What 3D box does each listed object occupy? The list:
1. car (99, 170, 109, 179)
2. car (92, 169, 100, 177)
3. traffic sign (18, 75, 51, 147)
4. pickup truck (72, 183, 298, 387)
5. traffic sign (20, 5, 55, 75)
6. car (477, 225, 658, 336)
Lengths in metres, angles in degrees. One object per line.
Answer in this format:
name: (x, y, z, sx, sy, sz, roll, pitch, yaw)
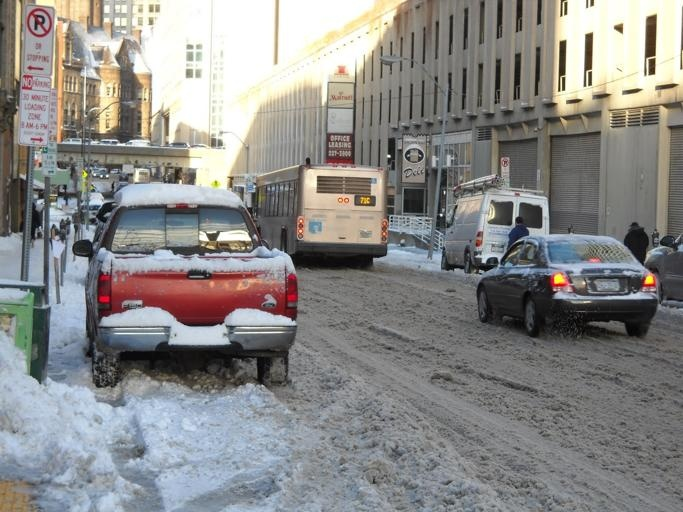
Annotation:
car: (-43.964, -15.071, 126.703, 1.014, 1.603, 4.212, 1, 6, -12)
car: (-44.892, -15.061, 124.967, 1.180, 1.273, 2.500, 1, 6, -22)
traffic sign: (-4.467, -2.117, 9.964, 0.423, 1.017, 0.345, 0, 6, -28)
pickup truck: (-1.931, 0.313, 8.798, 2.428, 2.400, 2.412, 1, 6, -19)
traffic sign: (-4.476, -3.173, 10.073, 0.419, 1.091, 0.544, 0, 6, -25)
car: (4.326, 0.546, 13.129, 3.200, 1.866, 2.027, 6, 6, 31)
